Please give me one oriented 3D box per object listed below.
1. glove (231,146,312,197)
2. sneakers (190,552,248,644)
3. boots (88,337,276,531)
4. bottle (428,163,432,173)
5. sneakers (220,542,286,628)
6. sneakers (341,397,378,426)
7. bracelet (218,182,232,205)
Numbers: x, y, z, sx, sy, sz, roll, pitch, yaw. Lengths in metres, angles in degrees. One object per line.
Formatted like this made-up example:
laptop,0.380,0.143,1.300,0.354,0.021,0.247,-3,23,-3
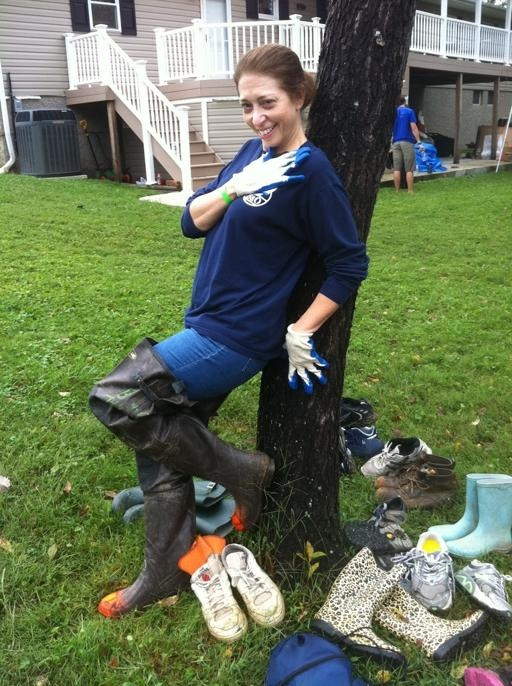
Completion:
glove,0.062,-0.554,1.920,0.233,0.162,0.061,-25,-25,7
sneakers,-0.139,0.917,2.075,0.156,0.141,0.415,-27,25,-5
boots,-0.253,0.391,2.108,0.621,0.870,0.252,-15,21,-38
bottle,5.597,-5.638,17.958,0.125,0.274,0.384,3,17,17
sneakers,-0.004,0.898,2.047,0.132,0.132,0.344,-28,35,-8
sneakers,0.620,0.396,3.469,0.178,0.077,0.226,-6,13,3
bracelet,-0.107,-0.533,1.984,0.023,0.062,0.053,-24,22,-1
